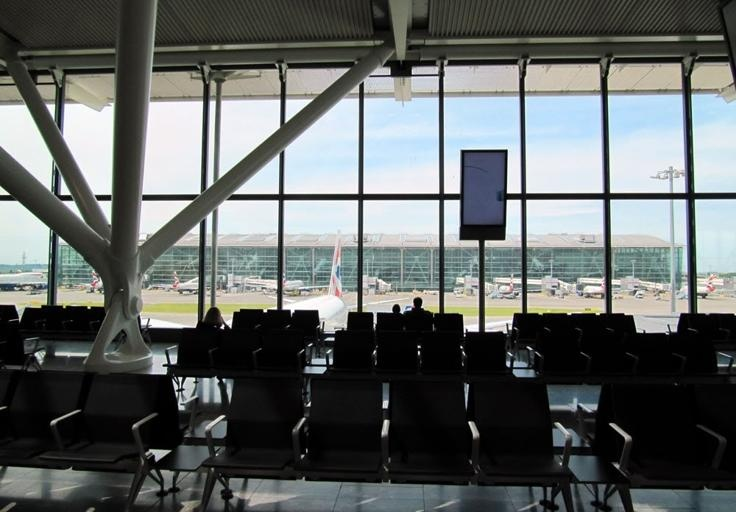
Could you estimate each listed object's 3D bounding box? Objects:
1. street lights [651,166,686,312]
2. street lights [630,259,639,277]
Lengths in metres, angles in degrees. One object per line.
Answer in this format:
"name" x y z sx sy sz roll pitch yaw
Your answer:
"street lights" 6.448 -0.332 13.188 0.607 3.175 0.285 -1 -2 -5
"street lights" 5.732 0.282 13.331 0.097 0.375 0.029 -1 -2 -1
